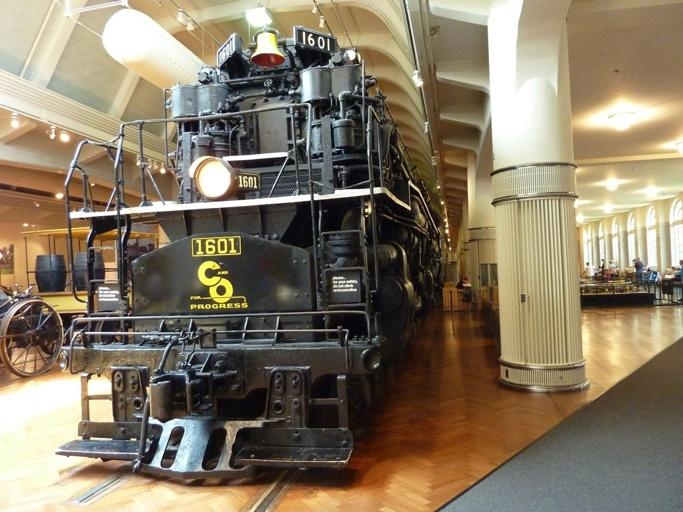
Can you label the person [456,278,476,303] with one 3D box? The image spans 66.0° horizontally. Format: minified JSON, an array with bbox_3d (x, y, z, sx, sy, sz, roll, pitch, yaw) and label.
[{"bbox_3d":[4.322,1.273,18.425,0.437,0.692,1.236,-3,4,6],"label":"person"}]
